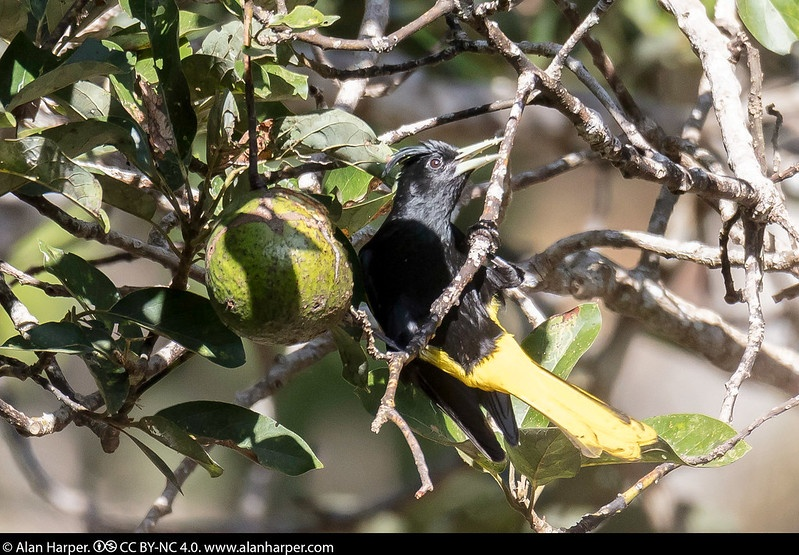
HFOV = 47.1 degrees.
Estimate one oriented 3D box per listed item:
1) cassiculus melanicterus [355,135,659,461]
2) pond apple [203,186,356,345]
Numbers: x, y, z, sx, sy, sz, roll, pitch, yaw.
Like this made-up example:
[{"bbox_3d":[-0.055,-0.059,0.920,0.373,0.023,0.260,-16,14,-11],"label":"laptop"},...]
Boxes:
[{"bbox_3d":[0.207,0.060,2.304,0.325,0.671,1.058,10,4,-33],"label":"cassiculus melanicterus"},{"bbox_3d":[-0.248,-0.026,1.862,0.283,0.329,0.285,-17,-15,23],"label":"pond apple"}]
